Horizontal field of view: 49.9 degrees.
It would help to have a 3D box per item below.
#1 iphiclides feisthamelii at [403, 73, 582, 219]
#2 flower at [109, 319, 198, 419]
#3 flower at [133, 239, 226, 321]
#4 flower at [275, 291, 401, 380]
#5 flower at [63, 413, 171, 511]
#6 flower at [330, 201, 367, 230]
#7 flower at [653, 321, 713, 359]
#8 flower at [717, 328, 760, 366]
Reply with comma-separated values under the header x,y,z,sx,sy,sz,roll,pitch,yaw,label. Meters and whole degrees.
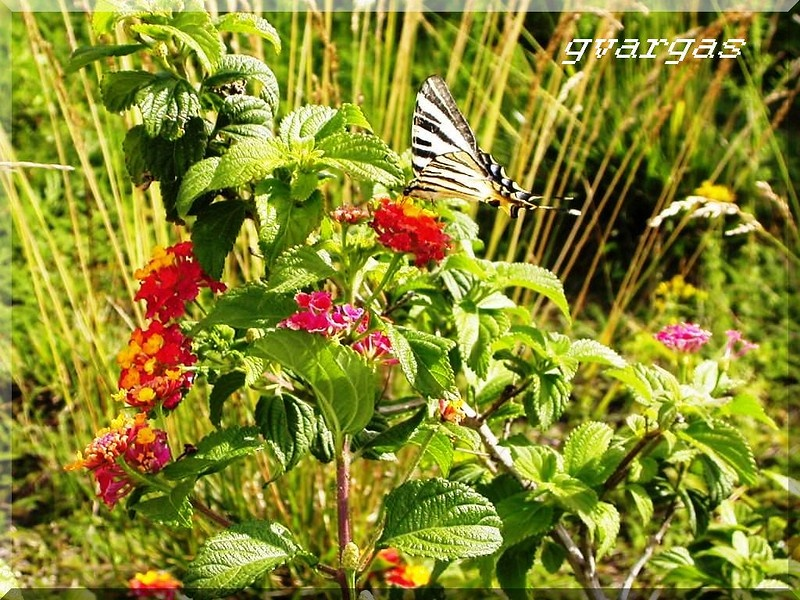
x,y,z,sx,sy,sz,roll,pitch,yaw,label
0.266,-0.473,2.859,0.488,0.273,0.521,23,3,-6,iphiclides feisthamelii
-0.742,0.199,2.620,0.244,0.277,0.107,5,-1,-6,flower
-0.731,-0.087,2.704,0.131,0.288,0.265,46,16,10,flower
-0.173,0.093,2.637,0.259,0.098,0.263,32,19,37,flower
-0.901,0.491,2.609,0.297,0.129,0.299,10,7,-18,flower
-0.160,-0.266,2.690,0.106,0.047,0.105,-7,7,-31,flower
0.983,0.118,3.004,0.131,0.068,0.131,-4,14,-21,flower
1.552,0.214,3.913,0.134,0.219,0.136,-1,50,8,flower
